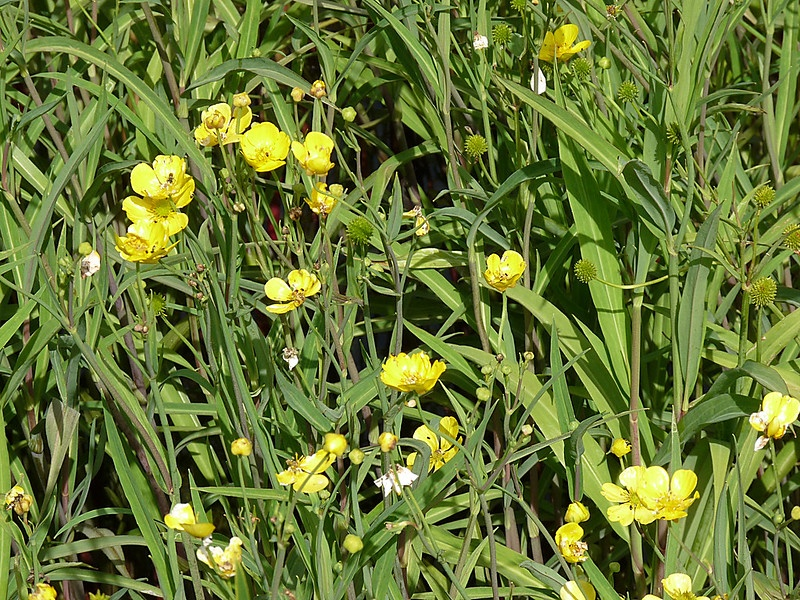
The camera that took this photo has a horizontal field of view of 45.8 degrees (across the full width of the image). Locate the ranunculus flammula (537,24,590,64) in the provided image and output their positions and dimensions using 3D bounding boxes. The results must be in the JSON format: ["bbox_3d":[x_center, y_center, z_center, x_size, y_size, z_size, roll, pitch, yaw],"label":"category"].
[{"bbox_3d":[0.230,-0.358,1.306,0.072,0.073,0.038,18,93,-24],"label":"ranunculus flammula"}]

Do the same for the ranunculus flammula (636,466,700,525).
[{"bbox_3d":[0.306,0.217,1.084,0.061,0.054,0.063,12,61,12],"label":"ranunculus flammula"}]

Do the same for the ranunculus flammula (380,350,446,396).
[{"bbox_3d":[0.016,0.074,1.082,0.046,0.028,0.060,-10,41,23],"label":"ranunculus flammula"}]

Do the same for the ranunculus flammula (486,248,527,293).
[{"bbox_3d":[0.134,-0.028,1.212,0.047,0.067,0.036,8,51,-16],"label":"ranunculus flammula"}]
